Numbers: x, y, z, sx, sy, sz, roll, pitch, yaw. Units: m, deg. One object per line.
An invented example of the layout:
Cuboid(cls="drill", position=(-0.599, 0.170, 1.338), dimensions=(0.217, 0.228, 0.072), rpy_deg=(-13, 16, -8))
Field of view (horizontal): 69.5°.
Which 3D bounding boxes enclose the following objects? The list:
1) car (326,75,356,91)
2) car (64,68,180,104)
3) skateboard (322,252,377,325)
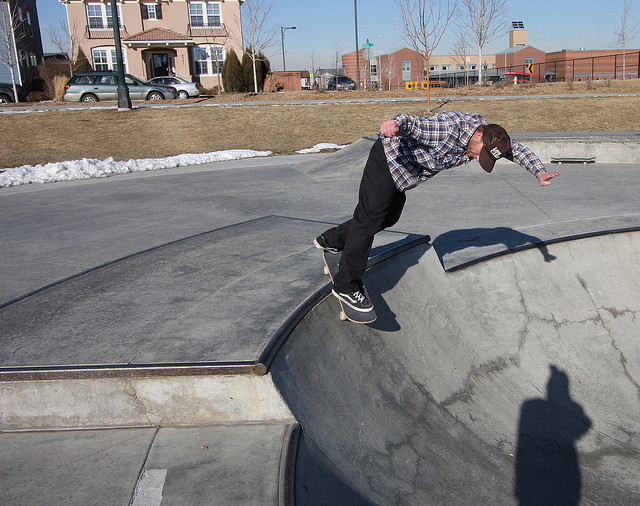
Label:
Cuboid(cls="car", position=(1.818, -14.938, 40.898), dimensions=(1.569, 1.230, 2.852), rpy_deg=(-11, 19, -24))
Cuboid(cls="car", position=(-10.011, -8.089, 22.466), dimensions=(4.487, 1.495, 1.690), rpy_deg=(-11, 19, -27))
Cuboid(cls="skateboard", position=(0.132, 0.196, 3.305), dimensions=(0.206, 0.120, 0.791), rpy_deg=(-13, 55, -25))
